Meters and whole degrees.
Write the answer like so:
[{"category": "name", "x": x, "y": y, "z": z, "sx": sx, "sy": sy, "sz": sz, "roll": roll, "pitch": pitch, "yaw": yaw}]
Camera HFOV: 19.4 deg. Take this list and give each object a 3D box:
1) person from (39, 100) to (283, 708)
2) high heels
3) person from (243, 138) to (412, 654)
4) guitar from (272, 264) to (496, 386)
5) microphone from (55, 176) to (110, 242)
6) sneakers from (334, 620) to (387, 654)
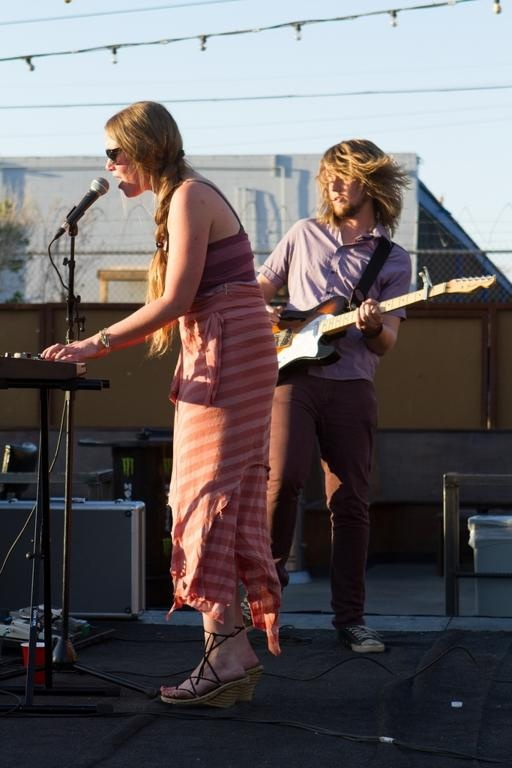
[{"category": "person", "x": -0.255, "y": 0.029, "z": 4.359, "sx": 0.654, "sy": 1.679, "sz": 0.569, "roll": 0, "pitch": -1, "yaw": -9}, {"category": "high heels", "x": -0.114, "y": 0.840, "z": 4.206, "sx": 0.289, "sy": 0.106, "sz": 0.112, "roll": -2, "pitch": -5, "yaw": -11}, {"category": "person", "x": 0.291, "y": 0.039, "z": 5.161, "sx": 0.573, "sy": 1.655, "sz": 0.552, "roll": -1, "pitch": -3, "yaw": 30}, {"category": "guitar", "x": 0.349, "y": -0.197, "z": 5.237, "sx": 0.663, "sy": 0.384, "sz": 0.453, "roll": 3, "pitch": 2, "yaw": 2}, {"category": "microphone", "x": -0.536, "y": -0.554, "z": 4.780, "sx": 0.221, "sy": 0.275, "sz": 0.101, "roll": 0, "pitch": -4, "yaw": 9}, {"category": "sneakers", "x": 0.347, "y": 0.822, "z": 4.848, "sx": 0.138, "sy": 0.079, "sz": 0.181, "roll": -1, "pitch": -2, "yaw": -11}]
